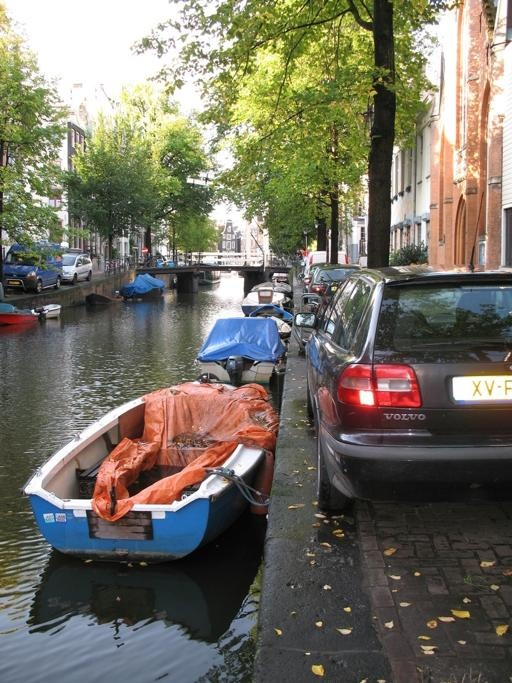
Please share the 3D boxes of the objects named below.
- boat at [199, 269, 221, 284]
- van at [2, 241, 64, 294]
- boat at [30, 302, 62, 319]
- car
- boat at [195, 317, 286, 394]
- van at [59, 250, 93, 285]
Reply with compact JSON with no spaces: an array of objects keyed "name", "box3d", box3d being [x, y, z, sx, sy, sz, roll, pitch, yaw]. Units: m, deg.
[{"name":"boat","box3d":[-6.998,-9.254,88.821,1.620,2.125,7.865,-1,6,3]},{"name":"van","box3d":[-11.432,-3.784,30.826,2.633,2.618,6.930,-2,2,-14]},{"name":"boat","box3d":[-9.845,-1.397,28.816,0.545,0.323,1.416,4,13,3]},{"name":"car","box3d":[1.876,-1.088,16.766,1.948,1.644,3.345,0,11,2]},{"name":"boat","box3d":[-0.150,-0.094,14.280,1.898,1.157,3.580,-1,18,6]},{"name":"van","box3d":[-11.576,-4.692,39.184,1.787,1.235,2.913,0,4,4]}]
